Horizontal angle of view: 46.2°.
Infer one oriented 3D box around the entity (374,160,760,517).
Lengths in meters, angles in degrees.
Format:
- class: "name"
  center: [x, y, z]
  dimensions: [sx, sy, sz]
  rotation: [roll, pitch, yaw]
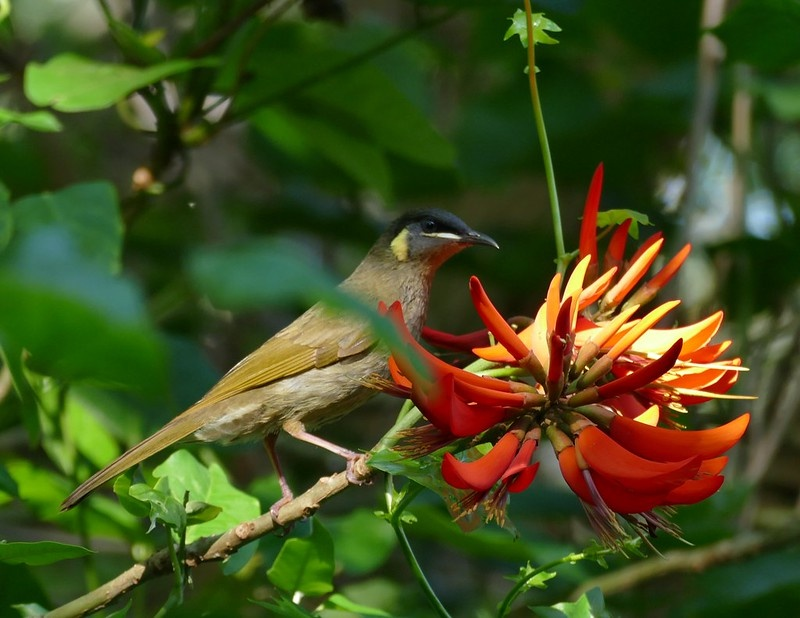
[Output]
- class: "entity"
  center: [0.339, 0.169, 2.347]
  dimensions: [0.904, 0.929, 0.641]
  rotation: [-3, 69, 8]
